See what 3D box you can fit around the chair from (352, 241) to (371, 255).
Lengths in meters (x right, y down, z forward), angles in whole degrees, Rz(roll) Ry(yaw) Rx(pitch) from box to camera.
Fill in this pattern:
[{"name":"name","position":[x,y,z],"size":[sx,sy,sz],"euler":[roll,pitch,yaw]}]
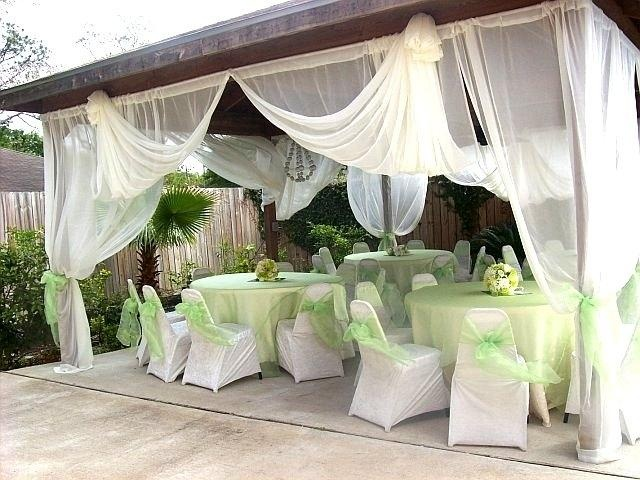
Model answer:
[{"name":"chair","position":[0.842,0.154,9.002],"size":[0.223,0.368,0.244],"euler":[0,0,-9]}]

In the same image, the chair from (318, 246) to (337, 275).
[{"name":"chair","position":[0.091,0.377,8.045],"size":[0.406,0.544,0.345],"euler":[-12,-7,34]}]

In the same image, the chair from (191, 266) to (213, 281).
[{"name":"chair","position":[-1.729,0.463,6.543],"size":[0.205,0.333,0.217],"euler":[-6,10,-34]}]

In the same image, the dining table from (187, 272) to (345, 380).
[{"name":"dining table","position":[-0.776,0.858,5.655],"size":[1.275,0.785,1.330],"euler":[-1,-1,-7]}]

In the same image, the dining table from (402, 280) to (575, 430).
[{"name":"dining table","position":[1.626,0.830,3.983],"size":[1.068,0.741,1.089],"euler":[5,9,42]}]

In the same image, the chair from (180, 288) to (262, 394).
[{"name":"chair","position":[-1.219,1.017,5.211],"size":[0.799,1.312,1.012],"euler":[5,10,35]}]

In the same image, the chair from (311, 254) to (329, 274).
[{"name":"chair","position":[-0.012,0.412,7.618],"size":[0.270,0.333,0.316],"euler":[-4,-1,-2]}]

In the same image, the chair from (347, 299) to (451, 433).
[{"name":"chair","position":[0.598,0.971,4.255],"size":[0.997,1.334,0.864],"euler":[-9,9,-38]}]

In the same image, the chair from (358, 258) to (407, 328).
[{"name":"chair","position":[0.860,0.718,6.394],"size":[0.806,1.218,0.791],"euler":[-1,4,25]}]

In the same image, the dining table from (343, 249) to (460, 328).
[{"name":"dining table","position":[1.156,0.570,6.803],"size":[1.184,0.952,1.179],"euler":[-3,2,-33]}]

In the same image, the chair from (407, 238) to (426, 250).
[{"name":"chair","position":[1.909,0.099,8.795],"size":[0.227,0.279,0.363],"euler":[-2,0,14]}]

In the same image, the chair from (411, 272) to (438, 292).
[{"name":"chair","position":[1.180,0.463,5.094],"size":[0.216,0.341,0.236],"euler":[-1,0,-6]}]

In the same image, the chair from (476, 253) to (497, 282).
[{"name":"chair","position":[2.511,0.434,6.764],"size":[0.239,0.387,0.556],"euler":[-2,4,19]}]
